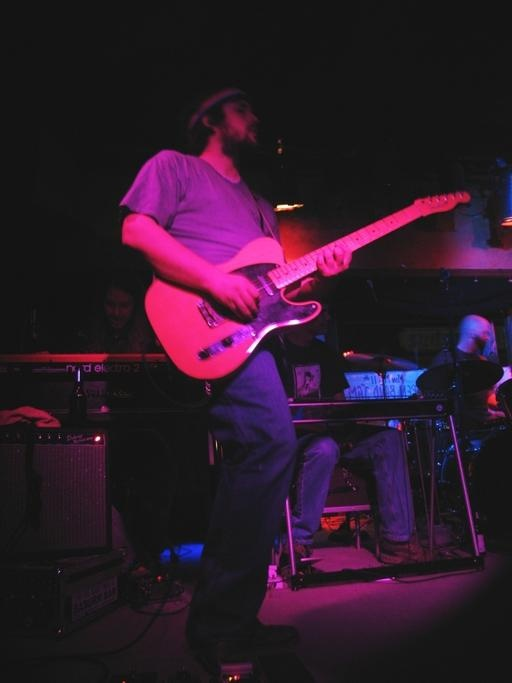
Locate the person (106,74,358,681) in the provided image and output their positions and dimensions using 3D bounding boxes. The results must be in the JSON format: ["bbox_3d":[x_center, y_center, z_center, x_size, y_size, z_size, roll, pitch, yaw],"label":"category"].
[{"bbox_3d":[-0.058,0.049,2.514,0.559,1.921,0.660,3,5,41],"label":"person"}]

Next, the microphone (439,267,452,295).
[{"bbox_3d":[1.386,-0.435,5.343,0.102,0.142,0.201,-4,-20,11],"label":"microphone"}]

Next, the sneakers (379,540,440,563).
[{"bbox_3d":[0.679,0.954,3.314,0.287,0.139,0.104,-2,-6,4],"label":"sneakers"}]
